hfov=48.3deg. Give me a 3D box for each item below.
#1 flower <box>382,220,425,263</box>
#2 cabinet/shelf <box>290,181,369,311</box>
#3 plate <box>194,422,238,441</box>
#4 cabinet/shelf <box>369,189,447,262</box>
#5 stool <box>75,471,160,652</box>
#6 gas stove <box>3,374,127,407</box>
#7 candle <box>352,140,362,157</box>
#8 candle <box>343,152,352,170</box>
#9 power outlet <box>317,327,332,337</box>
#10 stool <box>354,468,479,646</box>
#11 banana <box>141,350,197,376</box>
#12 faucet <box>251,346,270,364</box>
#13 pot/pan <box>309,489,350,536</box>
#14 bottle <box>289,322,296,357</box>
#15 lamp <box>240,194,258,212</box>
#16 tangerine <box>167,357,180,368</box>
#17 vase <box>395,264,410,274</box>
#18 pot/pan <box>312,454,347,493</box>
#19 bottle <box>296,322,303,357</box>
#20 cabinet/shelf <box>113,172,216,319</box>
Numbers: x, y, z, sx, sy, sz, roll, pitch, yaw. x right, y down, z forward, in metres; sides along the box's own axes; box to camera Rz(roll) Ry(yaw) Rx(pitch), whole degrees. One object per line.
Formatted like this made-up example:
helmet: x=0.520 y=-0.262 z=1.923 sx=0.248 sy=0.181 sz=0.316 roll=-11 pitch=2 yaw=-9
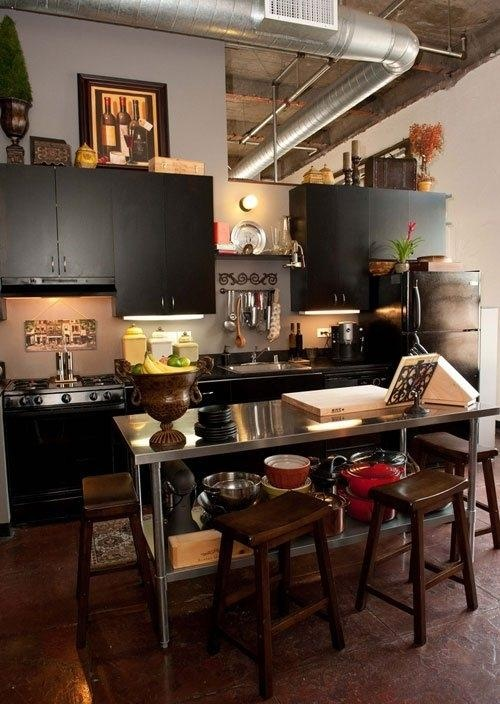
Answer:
flower: x=1.367 y=-0.992 z=5.177 sx=0.441 sy=0.453 sz=0.403 roll=0 pitch=-1 yaw=23
cabinet/shelf: x=0.781 y=-0.832 z=5.109 sx=0.586 sy=0.966 sz=0.327 roll=1 pitch=-2 yaw=-7
plate: x=-0.140 y=0.325 z=2.280 sx=0.172 sy=0.053 sz=0.177 roll=-2 pitch=4 yaw=-6
cabinet/shelf: x=1.484 y=-1.211 z=5.413 sx=0.771 sy=0.643 sz=0.241 roll=-1 pitch=4 yaw=-8
stool: x=-0.580 y=0.949 z=2.374 sx=0.369 sy=0.585 sz=0.345 roll=-3 pitch=-14 yaw=-20
gas stove: x=-1.287 y=0.300 z=3.875 sx=0.786 sy=0.171 sz=0.400 roll=-4 pitch=4 yaw=-24
candle: x=0.965 y=-1.863 z=5.124 sx=0.076 sy=0.146 sz=0.158 roll=-2 pitch=4 yaw=10
candle: x=0.898 y=-1.771 z=5.193 sx=0.074 sy=0.158 sz=0.169 roll=-2 pitch=4 yaw=10
power outlet: x=0.708 y=-0.181 z=5.366 sx=0.136 sy=0.087 sz=0.028 roll=2 pitch=-2 yaw=-17
stool: x=0.697 y=0.864 z=2.446 sx=0.497 sy=0.624 sz=0.386 roll=-6 pitch=5 yaw=-42
banana: x=-0.347 y=0.042 z=2.264 sx=0.245 sy=0.081 sz=0.286 roll=-4 pitch=4 yaw=-32
faucet: x=0.072 y=0.033 z=5.039 sx=0.124 sy=0.137 sz=0.294 roll=-1 pitch=4 yaw=24
pot/pan: x=0.356 y=0.762 z=2.528 sx=0.141 sy=0.129 sz=0.138 roll=10 pitch=-29 yaw=-32
bottle: x=0.389 y=-0.105 z=5.162 sx=0.065 sy=0.310 sz=0.130 roll=-2 pitch=4 yaw=3
lamp: x=0.002 y=-1.325 z=5.003 sx=0.112 sy=0.142 sz=0.203 roll=1 pitch=5 yaw=42
tangerine: x=-0.306 y=0.043 z=2.248 sx=0.041 sy=0.039 sz=0.041 roll=2 pitch=4 yaw=32
vase: x=1.321 y=-0.725 z=4.856 sx=0.110 sy=0.087 sz=0.120 roll=-9 pitch=13 yaw=-42
pot/pan: x=0.394 y=0.598 z=2.774 sx=0.103 sy=0.088 sz=0.251 roll=2 pitch=6 yaw=23
bottle: x=0.457 y=-0.106 z=5.194 sx=0.042 sy=0.316 sz=0.227 roll=-2 pitch=4 yaw=12
cabinet/shelf: x=-0.745 y=-0.830 z=4.409 sx=0.865 sy=1.091 sz=0.403 roll=-6 pitch=12 yaw=-28
